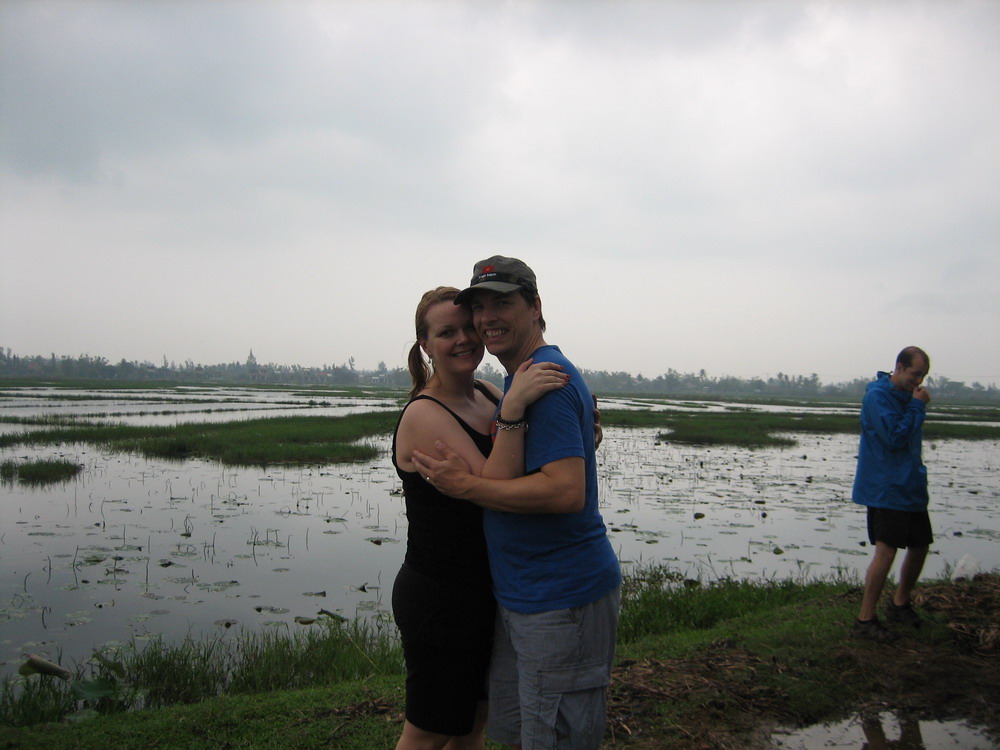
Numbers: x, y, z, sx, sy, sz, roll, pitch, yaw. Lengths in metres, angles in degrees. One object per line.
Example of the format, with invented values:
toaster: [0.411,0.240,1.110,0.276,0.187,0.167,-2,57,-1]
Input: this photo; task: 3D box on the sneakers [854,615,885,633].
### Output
sneakers: [4.311,2.859,9.319,0.386,0.182,0.213,0,-6,-15]

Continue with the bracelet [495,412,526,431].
bracelet: [0.087,0.365,6.324,0.229,0.127,0.092,-1,-6,-3]

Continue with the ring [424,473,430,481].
ring: [-0.585,0.821,6.500,0.035,0.056,0.030,30,44,26]
